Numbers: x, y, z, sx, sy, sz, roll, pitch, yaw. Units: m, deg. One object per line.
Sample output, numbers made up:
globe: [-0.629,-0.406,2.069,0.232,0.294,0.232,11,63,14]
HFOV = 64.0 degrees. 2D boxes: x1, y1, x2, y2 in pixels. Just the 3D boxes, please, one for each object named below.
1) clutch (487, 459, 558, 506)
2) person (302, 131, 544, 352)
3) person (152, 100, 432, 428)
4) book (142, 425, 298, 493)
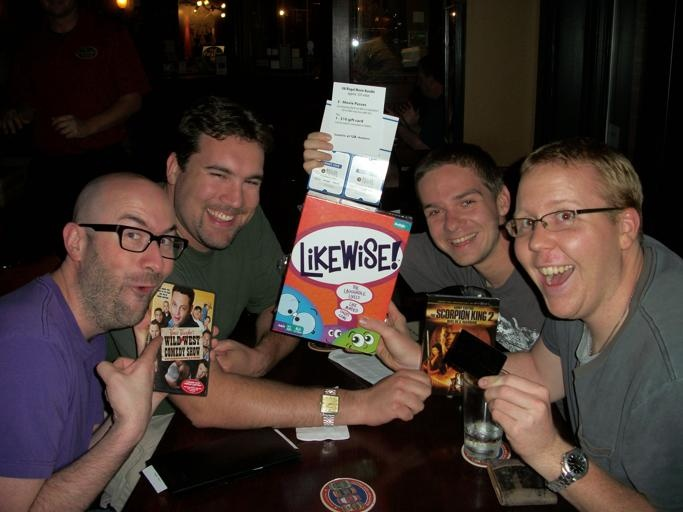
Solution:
clutch: [0.538,0.684,1.649,0.175,0.078,0.132,-6,23,-8]
person: [0.448,0.092,2.351,0.994,0.990,0.298,10,34,41]
person: [-0.329,0.058,2.254,1.349,1.343,0.741,5,7,32]
book: [-0.355,0.632,1.705,0.321,0.042,0.172,-8,15,-24]
